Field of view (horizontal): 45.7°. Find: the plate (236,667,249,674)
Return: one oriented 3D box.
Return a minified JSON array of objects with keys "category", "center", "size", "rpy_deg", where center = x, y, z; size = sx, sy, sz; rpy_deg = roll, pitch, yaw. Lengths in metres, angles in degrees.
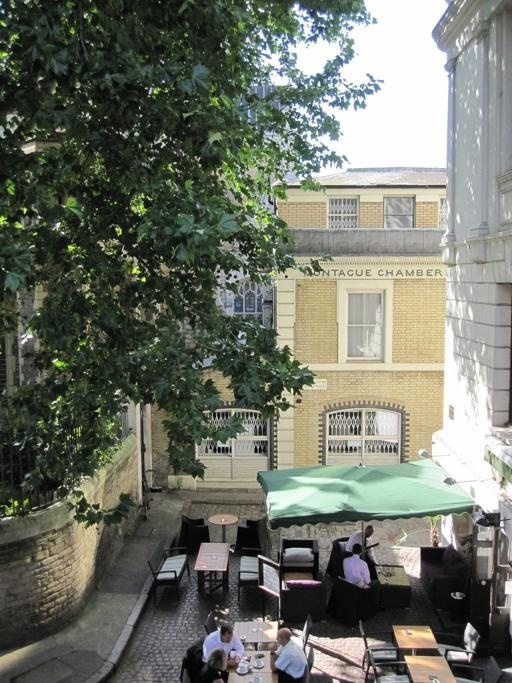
[{"category":"plate","center":[-0.166,4.112,7.588],"size":[0.119,0.060,0.080],"rpy_deg":[3,1,-3]}]

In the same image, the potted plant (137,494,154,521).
[{"category":"potted plant","center":[-2.846,4.390,15.964],"size":[0.367,0.869,0.450],"rpy_deg":[-9,-16,22]}]

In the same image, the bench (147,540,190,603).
[{"category":"bench","center":[-1.669,3.930,11.522],"size":[0.690,0.904,1.945],"rpy_deg":[1,2,1]}]

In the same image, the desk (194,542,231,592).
[{"category":"desk","center":[-0.858,4.512,11.562],"size":[0.658,0.838,1.299],"rpy_deg":[5,0,3]}]

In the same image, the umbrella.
[{"category":"umbrella","center":[1.870,2.815,11.041],"size":[3.513,1.013,2.162],"rpy_deg":[3,1,2]}]
